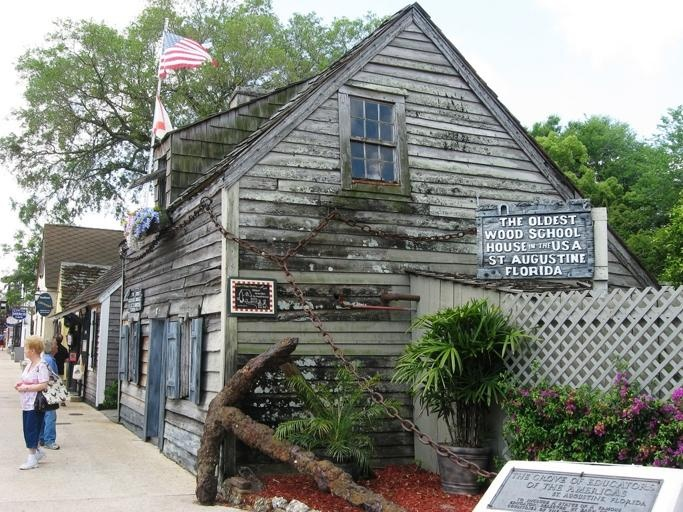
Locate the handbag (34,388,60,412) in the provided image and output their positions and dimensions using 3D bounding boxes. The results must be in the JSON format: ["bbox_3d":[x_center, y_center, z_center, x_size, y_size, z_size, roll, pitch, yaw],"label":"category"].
[{"bbox_3d":[-4.322,2.098,8.782,0.343,0.325,0.146,6,-17,-44],"label":"handbag"}]

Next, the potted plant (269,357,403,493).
[{"bbox_3d":[-0.265,2.241,8.308,1.615,1.414,1.645,7,-14,-35],"label":"potted plant"}]

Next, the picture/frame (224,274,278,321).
[{"bbox_3d":[-1.276,0.567,8.262,0.627,0.491,0.050,5,-15,-26],"label":"picture/frame"}]

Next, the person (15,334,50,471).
[{"bbox_3d":[-4.562,2.175,8.887,0.426,1.965,0.427,4,-4,-15],"label":"person"}]

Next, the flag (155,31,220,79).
[{"bbox_3d":[-3.453,-4.525,13.004,1.347,1.221,0.748,0,-5,38],"label":"flag"}]

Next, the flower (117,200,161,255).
[{"bbox_3d":[-3.462,-0.548,10.446,0.512,0.726,0.813,5,-5,-37],"label":"flower"}]

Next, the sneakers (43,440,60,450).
[{"bbox_3d":[-5.115,3.331,10.582,0.353,0.159,0.129,-4,-8,30],"label":"sneakers"}]
